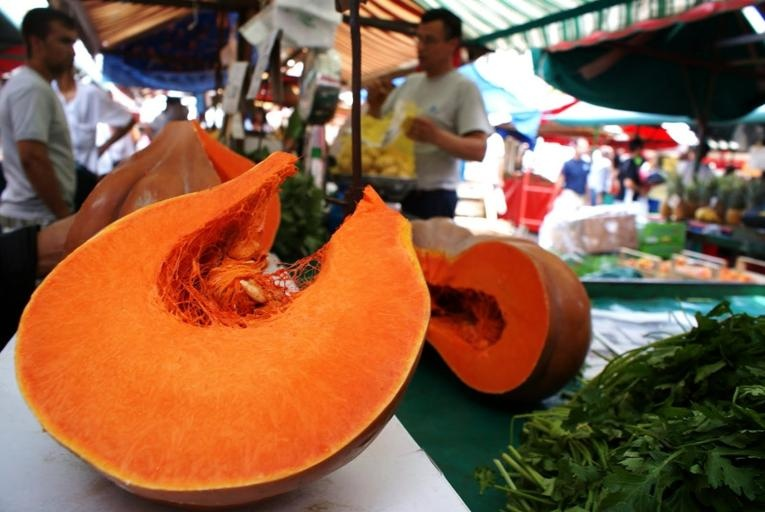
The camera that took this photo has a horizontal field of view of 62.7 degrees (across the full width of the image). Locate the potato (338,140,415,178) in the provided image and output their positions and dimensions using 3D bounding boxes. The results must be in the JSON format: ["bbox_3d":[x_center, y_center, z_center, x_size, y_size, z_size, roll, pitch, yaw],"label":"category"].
[{"bbox_3d":[-0.032,-0.485,3.177,0.297,0.146,0.242,10,3,10],"label":"potato"}]

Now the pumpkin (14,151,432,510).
[{"bbox_3d":[-0.340,0.133,1.446,0.885,0.727,0.479,5,13,5],"label":"pumpkin"}]
